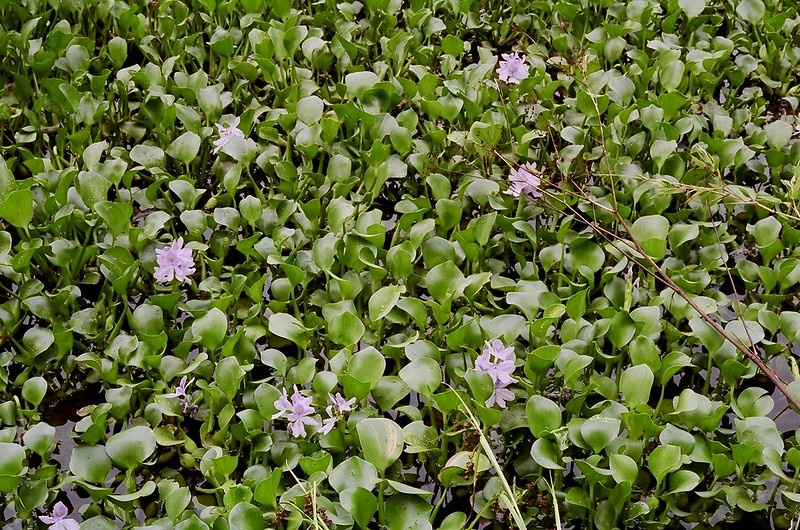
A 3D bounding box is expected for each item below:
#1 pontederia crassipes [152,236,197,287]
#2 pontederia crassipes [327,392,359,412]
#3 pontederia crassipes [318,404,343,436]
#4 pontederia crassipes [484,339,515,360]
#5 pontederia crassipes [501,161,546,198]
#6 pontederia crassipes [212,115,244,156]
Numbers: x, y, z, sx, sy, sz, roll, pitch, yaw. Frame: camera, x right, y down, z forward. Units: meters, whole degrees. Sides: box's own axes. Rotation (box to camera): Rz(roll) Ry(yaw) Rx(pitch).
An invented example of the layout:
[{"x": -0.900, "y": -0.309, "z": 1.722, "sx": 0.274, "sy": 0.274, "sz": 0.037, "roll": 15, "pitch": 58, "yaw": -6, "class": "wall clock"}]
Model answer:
[{"x": -1.016, "y": -0.005, "z": 3.555, "sx": 0.170, "sy": 0.223, "sz": 0.069, "roll": 4, "pitch": 13, "yaw": 0, "class": "pontederia crassipes"}, {"x": -0.227, "y": 0.561, "z": 3.192, "sx": 0.086, "sy": 0.046, "sz": 0.089, "roll": 26, "pitch": 57, "yaw": 36, "class": "pontederia crassipes"}, {"x": -0.278, "y": 0.623, "z": 3.147, "sx": 0.038, "sy": 0.114, "sz": 0.108, "roll": 26, "pitch": 13, "yaw": -22, "class": "pontederia crassipes"}, {"x": 0.410, "y": 0.333, "z": 3.230, "sx": 0.099, "sy": 0.111, "sz": 0.039, "roll": -25, "pitch": 10, "yaw": -1, "class": "pontederia crassipes"}, {"x": 0.625, "y": -0.422, "z": 3.924, "sx": 0.155, "sy": 0.199, "sz": 0.089, "roll": -7, "pitch": -10, "yaw": 30, "class": "pontederia crassipes"}, {"x": -0.868, "y": -0.670, "z": 4.009, "sx": 0.190, "sy": 0.179, "sz": 0.075, "roll": 43, "pitch": 33, "yaw": 24, "class": "pontederia crassipes"}]
